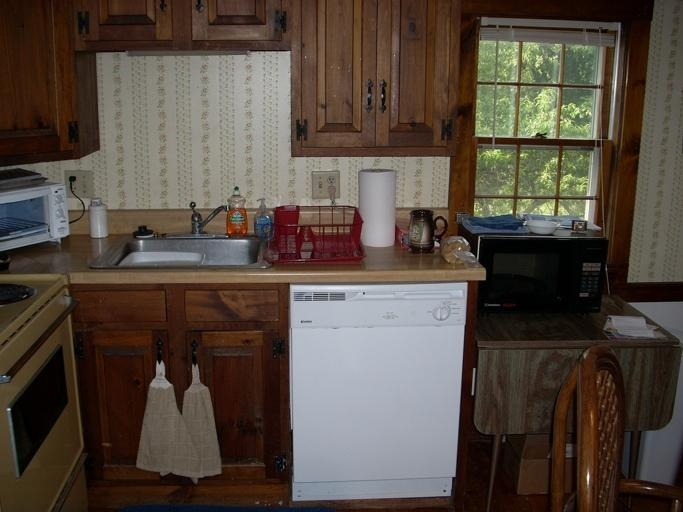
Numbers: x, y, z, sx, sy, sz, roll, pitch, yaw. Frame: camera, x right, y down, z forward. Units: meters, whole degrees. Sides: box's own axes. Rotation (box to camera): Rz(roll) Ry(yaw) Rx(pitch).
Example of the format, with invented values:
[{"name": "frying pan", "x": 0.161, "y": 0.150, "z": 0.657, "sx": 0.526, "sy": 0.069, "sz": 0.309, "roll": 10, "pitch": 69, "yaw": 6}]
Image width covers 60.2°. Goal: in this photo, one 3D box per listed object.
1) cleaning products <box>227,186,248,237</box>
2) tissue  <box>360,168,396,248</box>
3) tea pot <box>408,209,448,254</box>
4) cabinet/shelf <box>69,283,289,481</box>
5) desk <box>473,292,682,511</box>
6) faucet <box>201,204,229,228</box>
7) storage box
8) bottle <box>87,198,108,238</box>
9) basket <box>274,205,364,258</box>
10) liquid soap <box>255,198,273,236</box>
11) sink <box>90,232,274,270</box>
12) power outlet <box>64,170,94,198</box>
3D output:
[{"name": "cleaning products", "x": -0.542, "y": -0.232, "z": 3.018, "sx": 0.113, "sy": 0.239, "sz": 0.179, "roll": -2, "pitch": 10, "yaw": -11}, {"name": "tissue ", "x": 0.171, "y": -0.231, "z": 2.861, "sx": 0.170, "sy": 0.367, "sz": 0.152, "roll": 2, "pitch": 10, "yaw": 13}, {"name": "tea pot", "x": 0.406, "y": -0.125, "z": 2.831, "sx": 0.242, "sy": 0.254, "sz": 0.160, "roll": -1, "pitch": 12, "yaw": -3}, {"name": "cabinet/shelf", "x": -0.731, "y": 0.515, "z": 2.586, "sx": 0.819, "sy": 0.811, "sz": 0.322, "roll": -1, "pitch": 7, "yaw": -4}, {"name": "desk", "x": 0.885, "y": 0.752, "z": 3.038, "sx": 1.138, "sy": 1.297, "sz": 0.809, "roll": 0, "pitch": 14, "yaw": 0}, {"name": "faucet", "x": -0.645, "y": -0.196, "z": 2.991, "sx": 0.129, "sy": 0.119, "sz": 0.194, "roll": -2, "pitch": 11, "yaw": -12}, {"name": "storage box", "x": 0.959, "y": 0.992, "z": 2.791, "sx": 0.294, "sy": 0.197, "sz": 0.299, "roll": 0, "pitch": 7, "yaw": 4}, {"name": "bottle", "x": -1.237, "y": -0.189, "z": 2.983, "sx": 0.092, "sy": 0.195, "sz": 0.115, "roll": -4, "pitch": 11, "yaw": -21}, {"name": "basket", "x": -0.124, "y": -0.092, "z": 2.849, "sx": 0.344, "sy": 0.130, "sz": 0.282, "roll": -1, "pitch": 22, "yaw": -2}, {"name": "liquid soap", "x": -0.396, "y": -0.185, "z": 2.957, "sx": 0.098, "sy": 0.183, "sz": 0.333, "roll": -2, "pitch": 10, "yaw": -7}, {"name": "sink", "x": -0.735, "y": 0.004, "z": 2.756, "sx": 0.749, "sy": 0.145, "sz": 0.458, "roll": -2, "pitch": 11, "yaw": -8}, {"name": "power outlet", "x": -1.360, "y": -0.376, "z": 3.028, "sx": 0.160, "sy": 0.173, "sz": 0.018, "roll": 0, "pitch": 10, "yaw": -5}]
